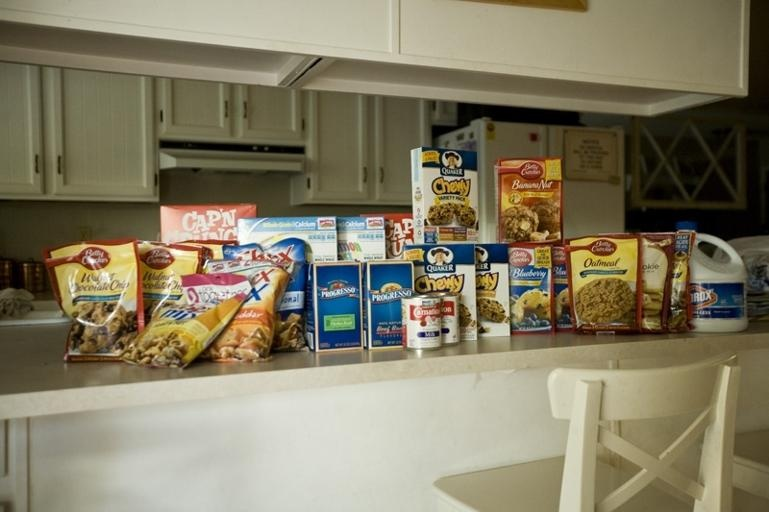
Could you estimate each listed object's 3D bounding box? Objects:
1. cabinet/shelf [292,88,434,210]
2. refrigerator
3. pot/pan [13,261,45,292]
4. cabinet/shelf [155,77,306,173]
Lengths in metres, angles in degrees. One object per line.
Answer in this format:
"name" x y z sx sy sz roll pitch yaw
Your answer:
"cabinet/shelf" -0.162 -0.756 4.375 0.951 0.794 0.313 -3 6 -30
"refrigerator" 1.071 -0.502 4.110 1.162 0.757 0.471 -3 14 -15
"pot/pan" -1.997 0.112 3.528 0.113 0.170 0.181 -2 -2 11
"cabinet/shelf" -0.969 -0.917 4.002 0.926 0.754 0.323 0 -4 -23
